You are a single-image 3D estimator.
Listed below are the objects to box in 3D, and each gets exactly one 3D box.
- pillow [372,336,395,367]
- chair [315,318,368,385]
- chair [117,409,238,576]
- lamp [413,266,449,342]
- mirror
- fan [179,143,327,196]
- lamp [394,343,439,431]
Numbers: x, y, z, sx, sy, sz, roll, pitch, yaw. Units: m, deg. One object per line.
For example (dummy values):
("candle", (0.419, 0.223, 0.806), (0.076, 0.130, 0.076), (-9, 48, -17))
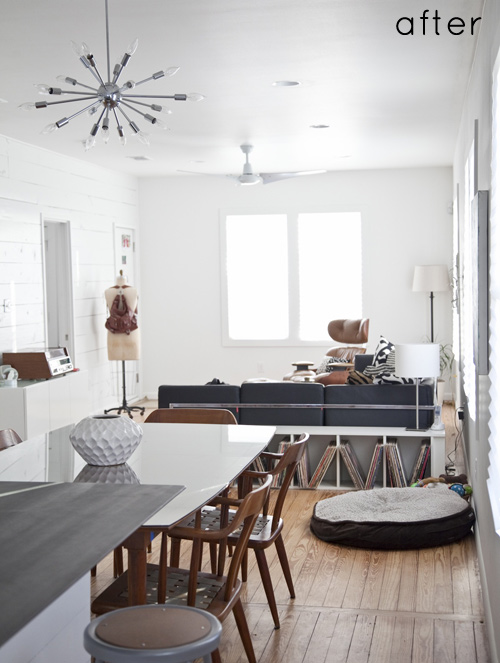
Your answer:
("pillow", (1.408, 0.204, 5.531), (0.110, 0.266, 0.221), (21, -16, -16))
("chair", (1.306, 0.196, 6.893), (0.825, 0.949, 0.692), (6, -8, -42))
("chair", (-0.434, 0.737, 3.113), (0.657, 0.354, 1.520), (1, 5, 11))
("lamp", (2.736, -0.399, 7.966), (0.499, 1.184, 0.584), (1, 7, 19))
("mirror", (-2.479, -0.510, 6.878), (0.339, 1.816, 0.215), (-2, 6, -14))
("fan", (-0.066, -2.192, 7.515), (2.233, 0.530, 2.403), (0, 6, 7))
("lamp", (1.331, 0.459, 4.242), (0.326, 0.754, 0.435), (1, 6, 15))
